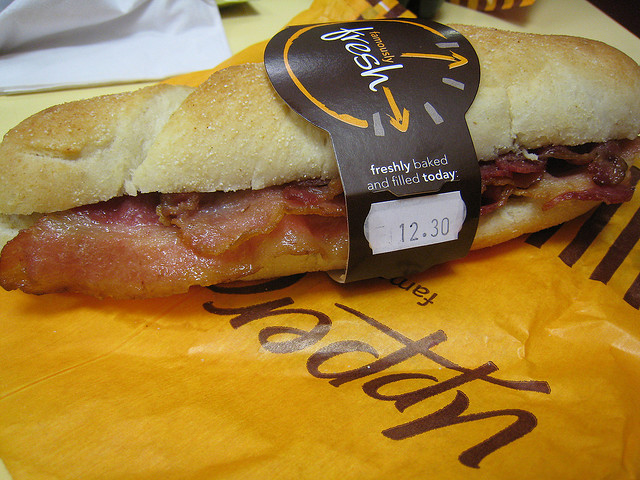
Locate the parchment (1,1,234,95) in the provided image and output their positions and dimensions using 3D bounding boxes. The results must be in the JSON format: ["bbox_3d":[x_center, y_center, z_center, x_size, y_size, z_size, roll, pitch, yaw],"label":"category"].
[{"bbox_3d":[-0.524,-0.463,1.532,0.509,0.124,0.286,-12,61,-24],"label":"parchment"}]
